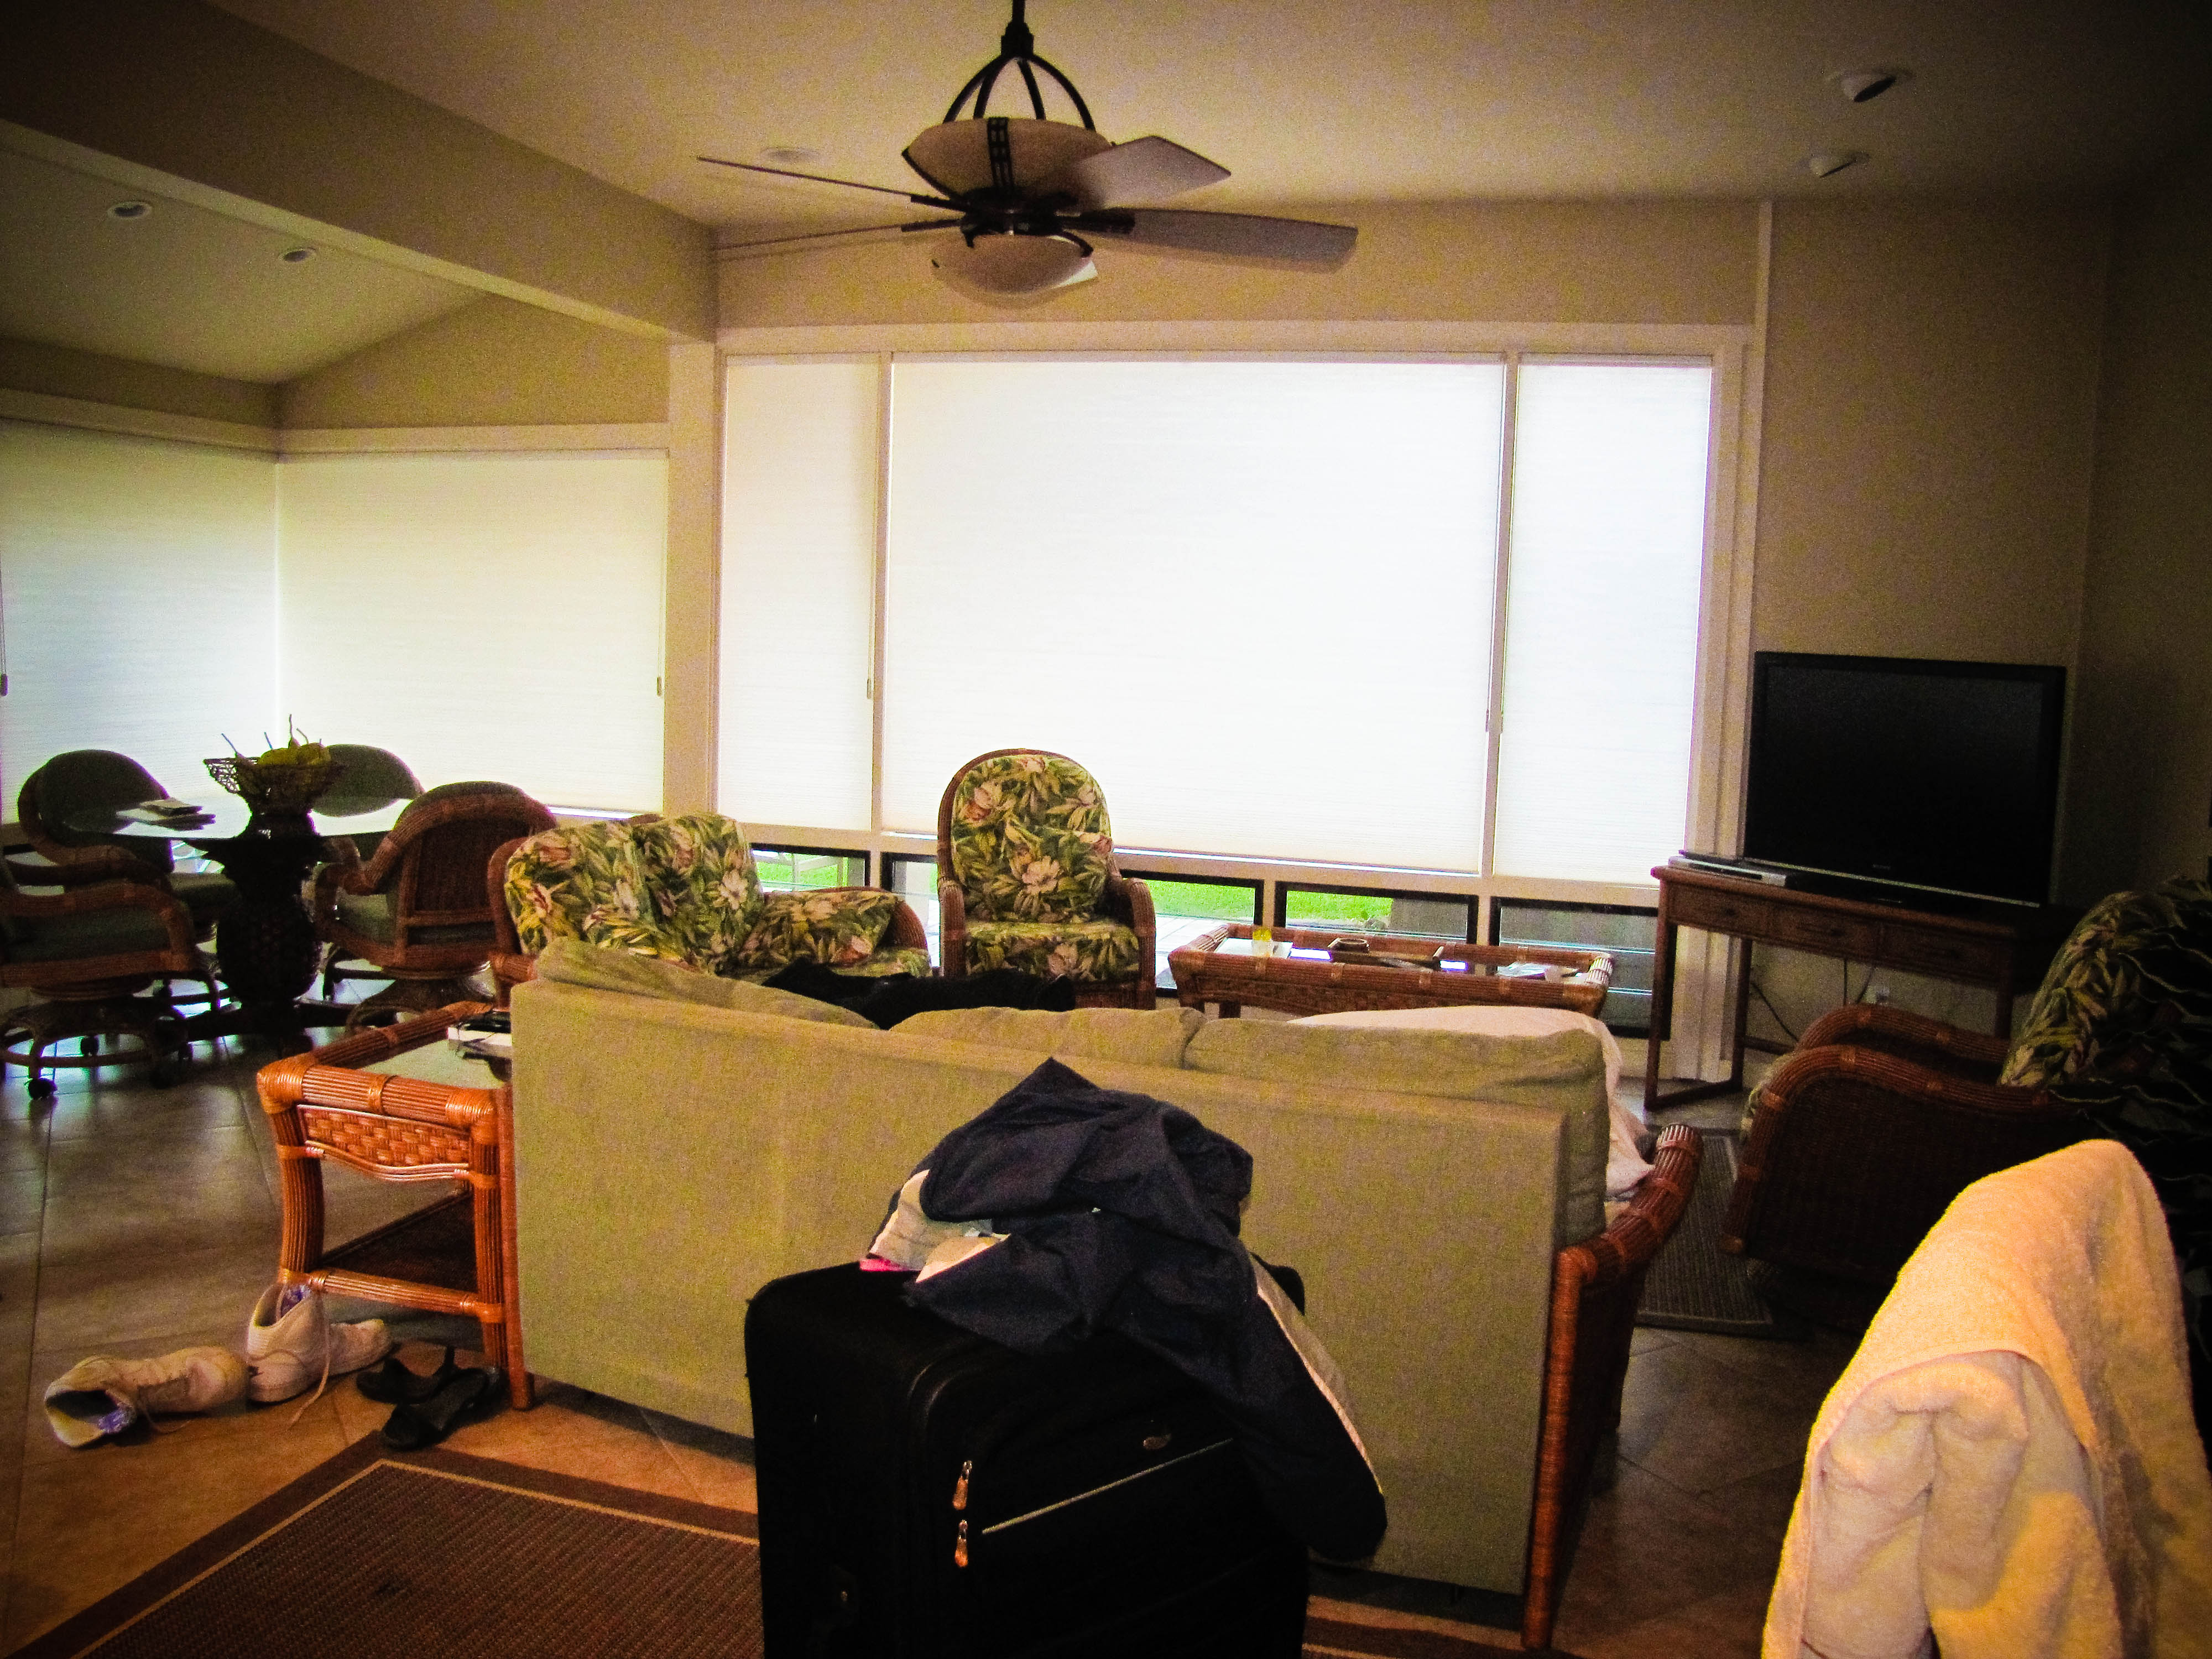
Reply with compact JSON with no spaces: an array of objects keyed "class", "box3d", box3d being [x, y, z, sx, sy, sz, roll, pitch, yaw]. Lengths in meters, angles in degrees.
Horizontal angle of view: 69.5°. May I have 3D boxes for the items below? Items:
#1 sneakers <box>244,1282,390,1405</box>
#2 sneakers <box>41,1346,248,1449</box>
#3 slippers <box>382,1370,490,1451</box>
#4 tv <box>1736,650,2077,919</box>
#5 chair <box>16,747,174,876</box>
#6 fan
[{"class":"sneakers","box3d":[-1.822,1.134,3.601,0.152,0.231,0.391,4,5,29]},{"class":"sneakers","box3d":[-2.045,1.181,3.429,0.480,0.158,0.183,-3,-5,-16]},{"class":"slippers","box3d":[-1.440,1.240,3.413,0.098,0.060,0.255,5,6,8]},{"class":"tv","box3d":[2.676,-0.143,5.369,0.944,0.683,0.099,6,9,42]},{"class":"chair","box3d":[-3.624,-0.054,5.668,0.512,0.512,0.390,16,17,25]},{"class":"fan","box3d":[-0.177,-2.029,4.770,1.255,0.555,1.315,4,-4,-22]}]
